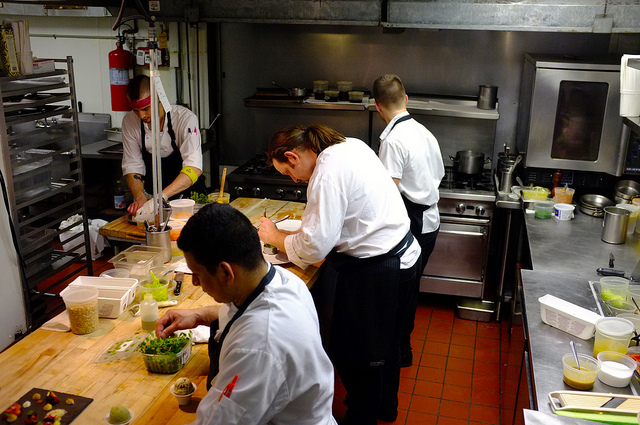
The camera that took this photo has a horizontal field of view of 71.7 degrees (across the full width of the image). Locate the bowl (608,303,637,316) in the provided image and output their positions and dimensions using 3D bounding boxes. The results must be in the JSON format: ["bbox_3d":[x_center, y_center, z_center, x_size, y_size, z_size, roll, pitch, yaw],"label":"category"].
[{"bbox_3d":[1.940,0.622,2.827,0.155,0.046,0.098,5,18,16],"label":"bowl"}]

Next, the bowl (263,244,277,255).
[{"bbox_3d":[-0.343,0.264,3.126,0.074,0.045,0.074,1,9,0],"label":"bowl"}]

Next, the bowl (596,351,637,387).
[{"bbox_3d":[1.629,0.865,2.411,0.208,0.127,0.150,2,17,6],"label":"bowl"}]

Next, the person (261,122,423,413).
[{"bbox_3d":[0.152,0.445,3.437,1.222,2.266,1.054,-3,12,12],"label":"person"}]

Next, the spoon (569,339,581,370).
[{"bbox_3d":[1.437,0.812,2.499,0.016,0.113,0.019,-16,-25,23],"label":"spoon"}]

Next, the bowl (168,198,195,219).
[{"bbox_3d":[-1.086,-0.021,3.488,0.135,0.099,0.136,0,13,0],"label":"bowl"}]

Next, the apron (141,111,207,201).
[{"bbox_3d":[-1.480,-0.562,4.456,0.585,0.857,0.602,-7,18,-21],"label":"apron"}]

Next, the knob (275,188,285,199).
[{"bbox_3d":[-0.446,-0.209,5.054,0.094,0.126,0.030,-1,17,-5],"label":"knob"}]

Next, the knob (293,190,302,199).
[{"bbox_3d":[-0.254,-0.201,5.036,0.105,0.098,0.037,6,18,17],"label":"knob"}]

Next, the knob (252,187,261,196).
[{"bbox_3d":[-0.725,-0.234,5.075,0.086,0.087,0.065,-8,-10,28],"label":"knob"}]

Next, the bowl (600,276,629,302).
[{"bbox_3d":[1.983,0.522,2.983,0.167,0.168,0.169,-8,20,3],"label":"bowl"}]

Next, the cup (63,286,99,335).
[{"bbox_3d":[-1.340,0.554,2.512,0.152,0.171,0.152,7,13,-2],"label":"cup"}]

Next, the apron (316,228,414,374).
[{"bbox_3d":[0.279,0.673,3.295,0.678,1.048,0.526,5,18,16],"label":"apron"}]

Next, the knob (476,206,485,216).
[{"bbox_3d":[1.624,-0.016,4.481,0.073,0.081,0.057,-2,-5,6],"label":"knob"}]

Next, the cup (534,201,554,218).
[{"bbox_3d":[2.142,-0.036,4.226,0.152,0.093,0.152,-1,18,0],"label":"cup"}]

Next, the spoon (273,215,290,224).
[{"bbox_3d":[-0.307,0.059,3.710,0.037,0.074,0.301,-14,-2,24],"label":"spoon"}]

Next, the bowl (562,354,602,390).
[{"bbox_3d":[1.417,0.866,2.418,0.197,0.097,0.196,-2,15,1],"label":"bowl"}]

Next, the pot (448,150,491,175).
[{"bbox_3d":[1.616,-0.534,4.846,0.261,0.238,0.270,0,17,0],"label":"pot"}]

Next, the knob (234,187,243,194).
[{"bbox_3d":[-0.930,-0.252,5.107,0.071,0.071,0.024,4,12,18],"label":"knob"}]

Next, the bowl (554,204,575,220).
[{"bbox_3d":[2.311,-0.008,4.181,0.144,0.098,0.146,-2,13,0],"label":"bowl"}]

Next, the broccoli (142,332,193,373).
[{"bbox_3d":[-0.791,0.754,2.350,0.212,0.093,0.290,1,3,11],"label":"broccoli"}]

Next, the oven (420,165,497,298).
[{"bbox_3d":[1.646,0.329,4.912,0.946,1.265,1.013,7,0,21],"label":"oven"}]

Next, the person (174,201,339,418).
[{"bbox_3d":[-0.262,0.497,1.977,0.657,1.032,0.470,-4,18,-14],"label":"person"}]

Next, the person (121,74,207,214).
[{"bbox_3d":[-1.549,-0.679,4.252,0.807,1.199,0.842,-3,17,-11],"label":"person"}]

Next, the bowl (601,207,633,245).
[{"bbox_3d":[2.547,0.126,3.790,0.282,0.327,0.219,1,11,10],"label":"bowl"}]

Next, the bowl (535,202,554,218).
[{"bbox_3d":[2.135,-0.029,4.235,0.150,0.091,0.148,-4,16,1],"label":"bowl"}]

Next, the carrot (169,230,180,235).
[{"bbox_3d":[-1.056,0.150,3.217,0.072,0.019,0.076,0,5,3],"label":"carrot"}]

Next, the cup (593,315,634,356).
[{"bbox_3d":[1.702,0.691,2.587,0.205,0.191,0.219,-3,20,1],"label":"cup"}]
